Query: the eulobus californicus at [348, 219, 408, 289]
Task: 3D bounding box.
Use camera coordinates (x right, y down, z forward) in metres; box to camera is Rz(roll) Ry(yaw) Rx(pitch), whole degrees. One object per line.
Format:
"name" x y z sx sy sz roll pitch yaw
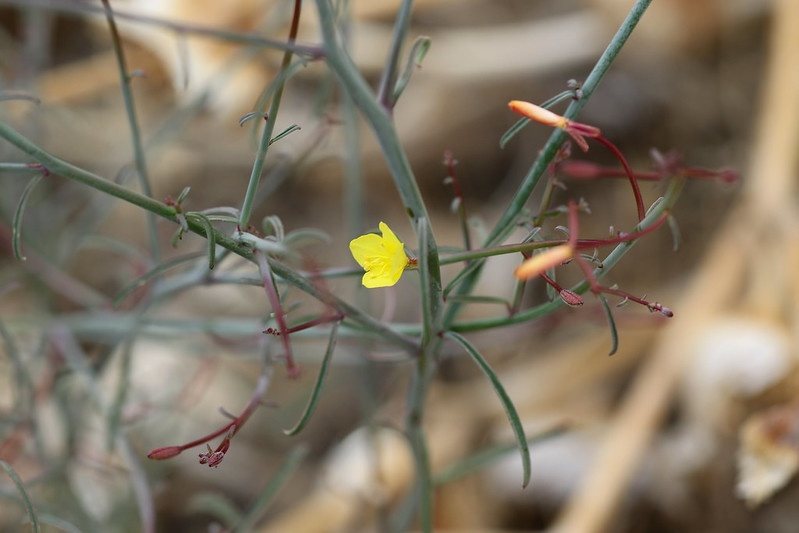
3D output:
"eulobus californicus" -0.026 -0.016 1.079 0.041 0.084 0.082 -9 -85 -46

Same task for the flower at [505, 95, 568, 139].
"flower" 0.180 -0.196 1.051 0.062 0.054 0.018 -4 -56 35
